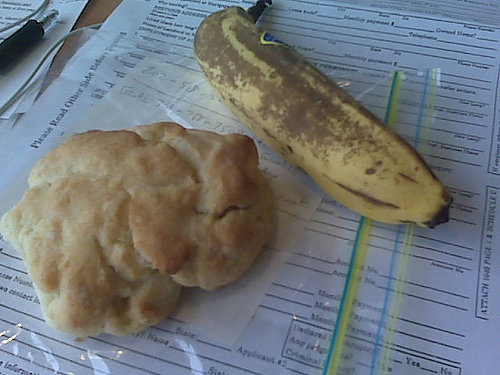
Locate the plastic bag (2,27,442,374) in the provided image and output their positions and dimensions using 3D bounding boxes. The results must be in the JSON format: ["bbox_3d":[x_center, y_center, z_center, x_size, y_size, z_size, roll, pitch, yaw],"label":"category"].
[{"bbox_3d":[0.083,0.039,1.029,0.917,0.003,0.730,13,57,5],"label":"plastic bag"}]
